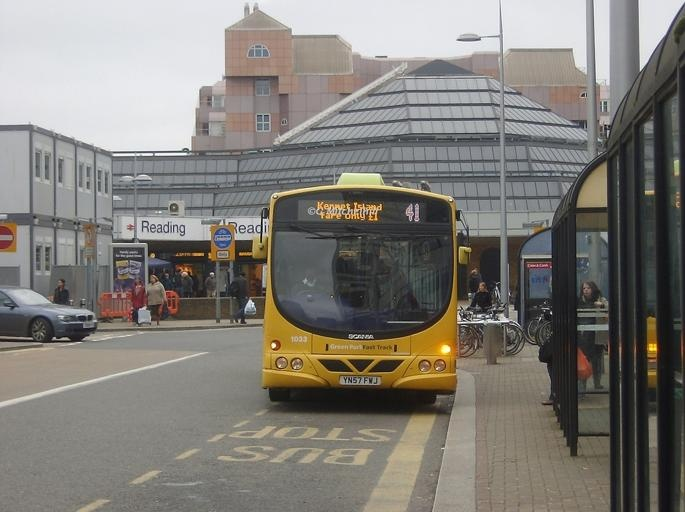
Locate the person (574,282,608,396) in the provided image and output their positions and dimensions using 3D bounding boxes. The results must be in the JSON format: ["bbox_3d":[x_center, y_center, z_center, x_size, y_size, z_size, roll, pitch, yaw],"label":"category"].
[{"bbox_3d":[2.866,0.939,9.684,0.332,1.305,0.378,-2,-2,16],"label":"person"}]

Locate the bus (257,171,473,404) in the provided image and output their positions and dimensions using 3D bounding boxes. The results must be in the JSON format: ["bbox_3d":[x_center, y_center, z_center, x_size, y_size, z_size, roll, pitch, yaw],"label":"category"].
[{"bbox_3d":[0.264,2.131,15.894,3.443,4.181,7.272,1,-26,-2],"label":"bus"}]

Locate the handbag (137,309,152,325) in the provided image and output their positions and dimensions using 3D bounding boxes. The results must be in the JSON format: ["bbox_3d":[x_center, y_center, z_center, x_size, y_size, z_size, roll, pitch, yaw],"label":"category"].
[{"bbox_3d":[-8.019,2.449,34.003,0.435,0.659,0.690,-1,-3,-6],"label":"handbag"}]

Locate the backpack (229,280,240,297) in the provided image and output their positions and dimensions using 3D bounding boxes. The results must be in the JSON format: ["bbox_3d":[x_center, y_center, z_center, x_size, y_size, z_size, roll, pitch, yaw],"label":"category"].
[{"bbox_3d":[-4.399,1.298,34.199,0.385,0.692,1.105,-1,-3,-7],"label":"backpack"}]

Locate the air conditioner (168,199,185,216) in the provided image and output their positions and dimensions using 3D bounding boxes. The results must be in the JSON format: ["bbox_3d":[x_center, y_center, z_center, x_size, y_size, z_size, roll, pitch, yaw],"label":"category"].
[{"bbox_3d":[-12.242,-3.484,61.593,0.984,1.047,0.924,-1,-3,-5],"label":"air conditioner"}]
